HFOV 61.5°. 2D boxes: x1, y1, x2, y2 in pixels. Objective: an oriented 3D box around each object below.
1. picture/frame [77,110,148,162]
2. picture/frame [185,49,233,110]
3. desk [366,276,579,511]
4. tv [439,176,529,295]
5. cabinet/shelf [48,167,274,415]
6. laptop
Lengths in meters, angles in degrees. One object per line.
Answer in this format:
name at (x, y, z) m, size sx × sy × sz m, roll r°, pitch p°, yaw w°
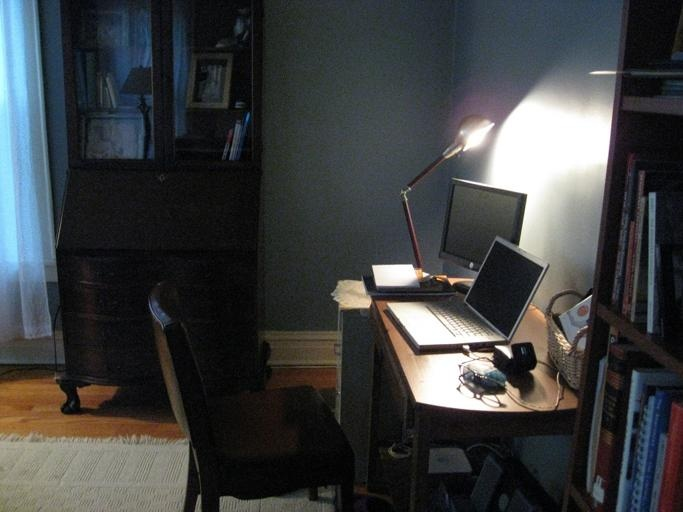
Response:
picture/frame at (-1.164, -0.587, 2.972) m, size 0.322 × 0.223 × 0.182 m, roll -1°, pitch -7°, yaw -13°
picture/frame at (-0.674, -0.898, 2.870) m, size 0.269 × 0.354 × 0.034 m, roll 5°, pitch 6°, yaw -4°
desk at (0.447, 0.451, 1.916) m, size 0.447 × 0.660 × 0.709 m, roll 1°, pitch 32°, yaw -5°
tv at (0.570, -0.084, 2.272) m, size 0.162 × 0.458 × 0.435 m, roll 2°, pitch 19°, yaw -29°
cabinet/shelf at (-0.871, 0.135, 3.243) m, size 1.335 × 1.686 × 0.959 m, roll 0°, pitch 11°, yaw -4°
laptop at (0.420, 0.119, 1.988) m, size 0.563 × 0.265 × 0.577 m, roll 7°, pitch 15°, yaw 27°
